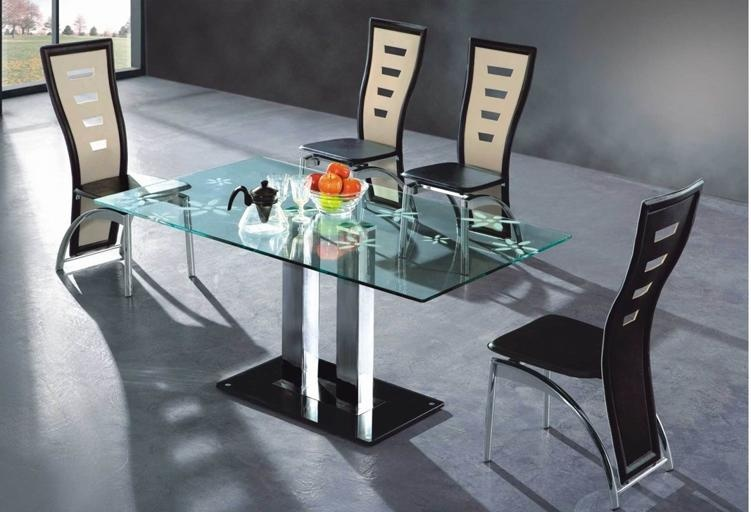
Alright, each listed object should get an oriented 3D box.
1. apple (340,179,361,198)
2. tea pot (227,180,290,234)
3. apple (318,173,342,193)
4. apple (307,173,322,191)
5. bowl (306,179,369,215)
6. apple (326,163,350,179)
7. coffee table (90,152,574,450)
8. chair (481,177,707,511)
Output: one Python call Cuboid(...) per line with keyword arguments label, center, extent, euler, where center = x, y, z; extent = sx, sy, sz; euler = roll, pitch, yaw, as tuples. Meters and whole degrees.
Cuboid(label="apple", center=(-0.117, -0.347, 3.077), extent=(0.097, 0.087, 0.090), euler=(6, 25, 11))
Cuboid(label="tea pot", center=(-0.567, -0.221, 3.035), extent=(0.362, 0.241, 0.263), euler=(-10, 25, -25))
Cuboid(label="apple", center=(-0.223, -0.356, 3.084), extent=(0.109, 0.118, 0.101), euler=(9, 30, 8))
Cuboid(label="apple", center=(-0.320, -0.377, 3.119), extent=(0.090, 0.095, 0.084), euler=(-6, 19, -17))
Cuboid(label="bowl", center=(-0.171, -0.286, 3.099), extent=(0.233, 0.079, 0.219), euler=(0, 20, 0))
Cuboid(label="apple", center=(-0.187, -0.455, 3.131), extent=(0.109, 0.092, 0.100), euler=(14, 19, -7))
Cuboid(label="coffee table", center=(-0.039, 0.053, 3.184), extent=(2.518, 1.109, 1.360), euler=(17, 26, 38))
Cuboid(label="chair", center=(0.948, 0.333, 2.485), extent=(0.796, 1.312, 0.543), euler=(19, 31, 27))
